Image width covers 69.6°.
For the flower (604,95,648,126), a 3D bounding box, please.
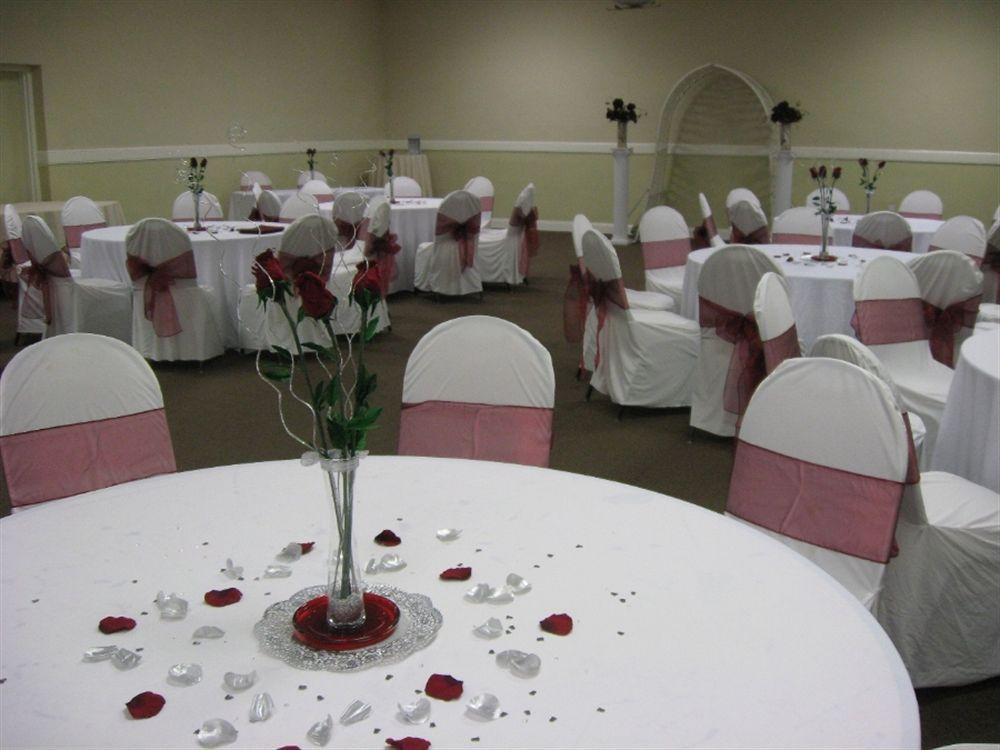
[{"bbox_3d":[1.725,-3.720,10.327,0.524,0.327,0.718,0,4,2],"label":"flower"}]
